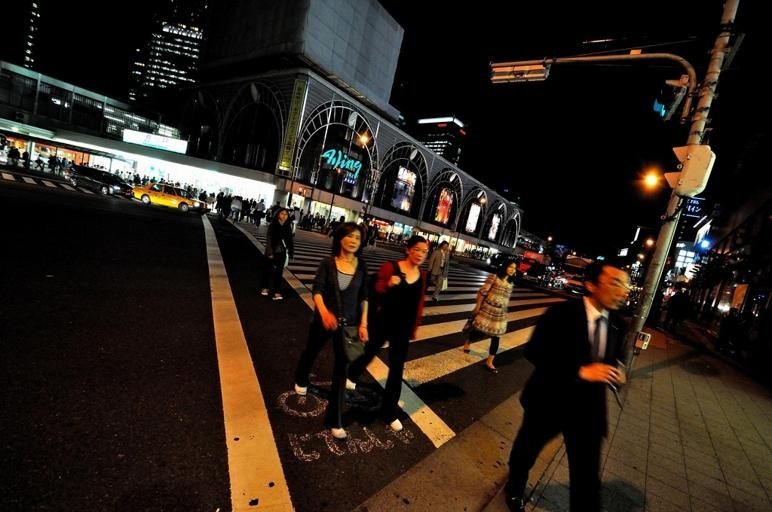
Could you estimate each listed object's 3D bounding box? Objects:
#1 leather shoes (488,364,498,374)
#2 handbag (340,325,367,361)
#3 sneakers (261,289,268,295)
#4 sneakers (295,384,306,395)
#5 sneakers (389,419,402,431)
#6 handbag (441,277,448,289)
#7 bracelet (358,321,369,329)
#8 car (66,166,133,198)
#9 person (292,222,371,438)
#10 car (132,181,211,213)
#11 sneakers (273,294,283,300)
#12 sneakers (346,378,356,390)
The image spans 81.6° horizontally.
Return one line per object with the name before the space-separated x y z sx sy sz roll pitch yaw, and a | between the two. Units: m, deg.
leather shoes | 2.355 2.468 9.728 0.103 0.079 0.291 0 -7 -15
handbag | -0.526 1.365 7.092 0.380 0.516 0.181 0 -27 -37
sneakers | -3.074 0.887 11.371 0.172 0.137 0.299 9 9 -15
sneakers | -1.487 2.309 7.765 0.193 0.132 0.151 -6 -8 37
sneakers | 0.185 2.851 7.523 0.176 0.176 0.183 1 0 2
handbag | 1.828 0.812 13.787 0.162 0.338 0.756 11 9 4
bracelet | -0.380 1.126 7.403 0.105 0.121 0.112 3 5 10
car | -16.239 -4.253 25.191 3.397 1.293 1.571 12 16 -29
person | -0.810 1.128 7.421 1.163 3.369 0.787 13 8 16
car | -12.499 -3.162 26.375 4.116 1.454 1.815 5 15 -39
sneakers | -2.682 1.007 11.192 0.233 0.144 0.296 8 9 -20
sneakers | -0.629 2.334 8.098 0.199 0.109 0.293 1 -2 7
